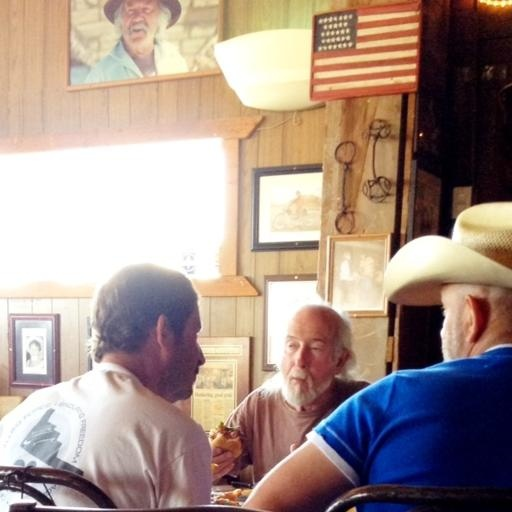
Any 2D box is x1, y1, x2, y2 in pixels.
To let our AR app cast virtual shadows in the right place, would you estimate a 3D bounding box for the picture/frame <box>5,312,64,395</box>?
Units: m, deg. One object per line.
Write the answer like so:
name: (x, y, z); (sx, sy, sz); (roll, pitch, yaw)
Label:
picture/frame: (-1.513, 0.667, 4.757); (0.576, 0.672, 0.054); (-2, -3, 20)
